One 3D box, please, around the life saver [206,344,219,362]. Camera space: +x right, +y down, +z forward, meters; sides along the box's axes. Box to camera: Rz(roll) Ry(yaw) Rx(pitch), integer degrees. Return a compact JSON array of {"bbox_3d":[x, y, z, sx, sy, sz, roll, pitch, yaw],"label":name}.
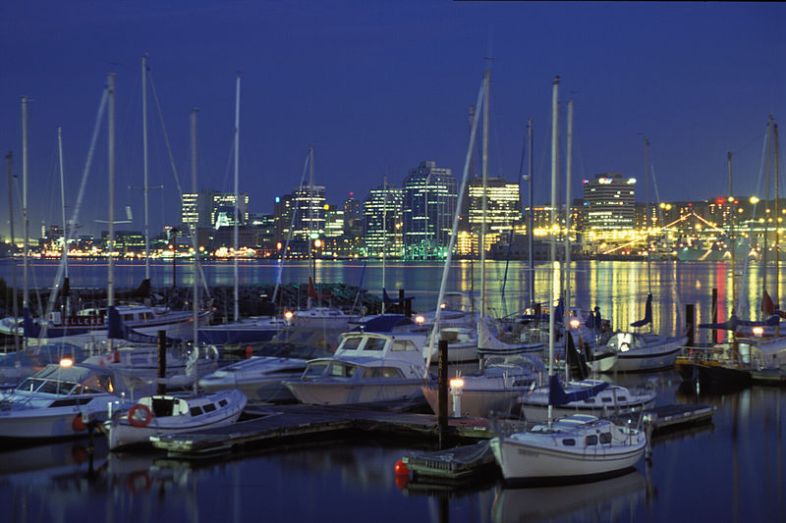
[{"bbox_3d":[-8.895,4.451,54.272,0.467,0.884,0.586,-14,14,-40],"label":"life saver"}]
